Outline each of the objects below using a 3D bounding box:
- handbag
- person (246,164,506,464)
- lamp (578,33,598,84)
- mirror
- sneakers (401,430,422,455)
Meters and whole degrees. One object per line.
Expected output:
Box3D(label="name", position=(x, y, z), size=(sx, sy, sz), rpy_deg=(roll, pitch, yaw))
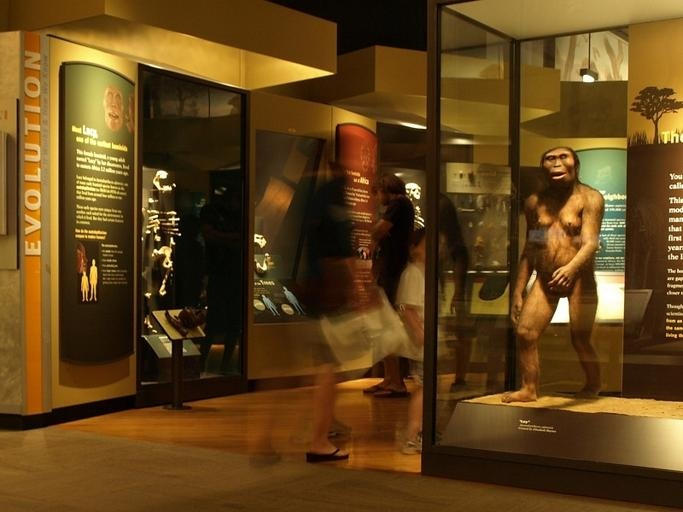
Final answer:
Box3D(label="handbag", position=(0.115, 0.549, 4.280), size=(0.582, 0.474, 0.420), rpy_deg=(1, -23, -32))
Box3D(label="person", position=(0.173, 0.400, 4.439), size=(0.818, 2.020, 1.410), rpy_deg=(1, 3, 6))
Box3D(label="lamp", position=(1.365, -1.086, 3.416), size=(0.100, 0.282, 0.052), rpy_deg=(2, 2, 25))
Box3D(label="mirror", position=(-1.522, -0.210, 6.403), size=(1.275, 3.310, 0.345), rpy_deg=(-1, 3, -45))
Box3D(label="sneakers", position=(0.502, 1.326, 4.430), size=(0.136, 0.069, 0.203), rpy_deg=(0, 1, 2))
